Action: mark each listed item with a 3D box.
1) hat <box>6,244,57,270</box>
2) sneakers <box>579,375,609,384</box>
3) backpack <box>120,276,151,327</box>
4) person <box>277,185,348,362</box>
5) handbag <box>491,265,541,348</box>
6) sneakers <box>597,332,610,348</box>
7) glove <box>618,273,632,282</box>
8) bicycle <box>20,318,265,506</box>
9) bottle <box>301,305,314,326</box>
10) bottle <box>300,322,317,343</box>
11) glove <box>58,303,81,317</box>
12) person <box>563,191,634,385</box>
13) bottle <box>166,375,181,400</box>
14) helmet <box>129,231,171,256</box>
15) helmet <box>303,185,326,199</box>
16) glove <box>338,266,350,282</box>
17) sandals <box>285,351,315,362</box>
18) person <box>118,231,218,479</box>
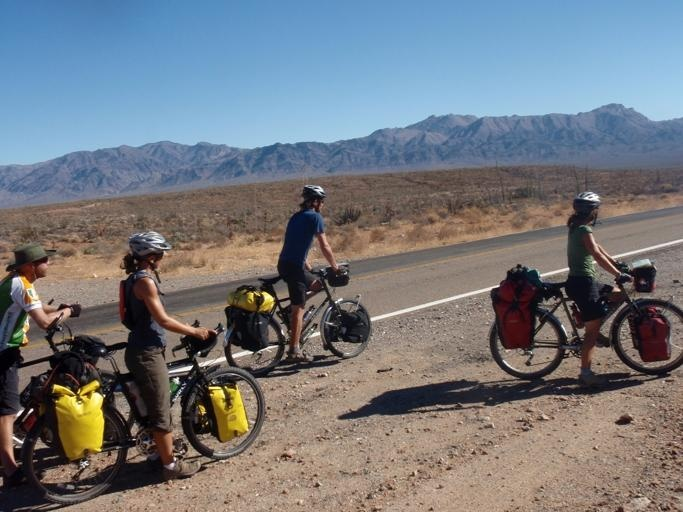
[{"bbox_3d":[-3.025,0.002,5.408,0.447,0.163,0.371,-27,11,-39],"label":"hat"},{"bbox_3d":[3.078,1.497,6.722,0.275,0.103,0.147,-3,4,16],"label":"sneakers"},{"bbox_3d":[-1.967,0.435,5.177,0.194,0.542,0.352,-14,15,-36],"label":"backpack"},{"bbox_3d":[-0.476,0.241,8.000,0.791,2.492,1.066,-5,12,-2],"label":"person"},{"bbox_3d":[2.168,0.671,6.847,0.592,1.139,0.398,-1,13,17],"label":"handbag"},{"bbox_3d":[3.277,1.059,6.921,0.102,0.100,0.231,-1,14,16],"label":"sneakers"},{"bbox_3d":[3.450,0.262,6.815,0.101,0.118,0.276,-19,-4,6],"label":"glove"},{"bbox_3d":[-1.861,1.436,5.959,2.608,1.414,1.237,-10,3,-24],"label":"bicycle"},{"bbox_3d":[-0.476,0.854,8.167,0.353,0.109,0.116,-58,3,-38],"label":"bottle"},{"bbox_3d":[-0.491,1.098,8.212,0.134,0.141,0.495,5,18,15],"label":"bottle"},{"bbox_3d":[-2.721,0.542,5.583,0.208,0.111,0.148,1,6,1],"label":"glove"},{"bbox_3d":[3.056,0.387,6.763,0.619,2.265,0.720,6,17,42],"label":"person"},{"bbox_3d":[-1.655,1.301,5.495,0.145,0.177,0.193,1,-2,-5],"label":"bottle"},{"bbox_3d":[-1.800,-0.121,5.231,0.347,0.165,0.232,-4,9,-14],"label":"helmet"},{"bbox_3d":[-0.376,-0.897,7.683,0.273,0.137,0.200,11,16,21],"label":"helmet"},{"bbox_3d":[0.030,0.255,8.041,0.120,0.154,0.215,-13,-29,3],"label":"glove"},{"bbox_3d":[-0.588,1.421,7.839,0.395,0.156,0.150,-1,6,-17],"label":"sandals"},{"bbox_3d":[-1.693,0.960,5.282,0.685,2.366,0.523,-10,13,-22],"label":"person"}]
